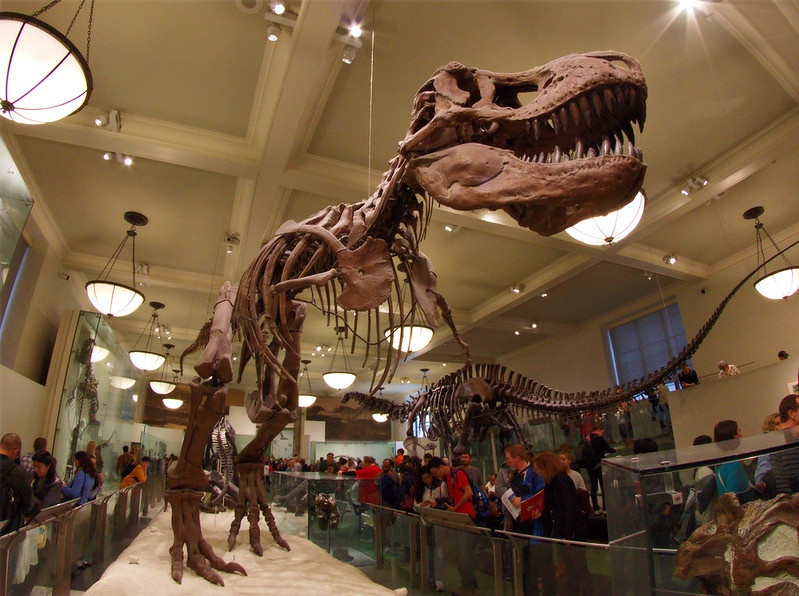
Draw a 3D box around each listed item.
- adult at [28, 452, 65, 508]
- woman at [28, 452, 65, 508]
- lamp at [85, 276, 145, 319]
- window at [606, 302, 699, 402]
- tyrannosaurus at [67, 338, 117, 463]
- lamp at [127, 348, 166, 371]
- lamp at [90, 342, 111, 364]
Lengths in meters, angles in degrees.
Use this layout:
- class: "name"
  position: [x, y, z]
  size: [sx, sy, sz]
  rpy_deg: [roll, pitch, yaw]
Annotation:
- class: "adult"
  position: [-3.603, 1.839, 5.271]
  size: [0.345, 0.528, 0.924]
  rpy_deg: [17, -25, -30]
- class: "woman"
  position: [-3.607, 1.842, 5.283]
  size: [0.348, 0.525, 0.897]
  rpy_deg: [17, -25, -31]
- class: "lamp"
  position: [-4.616, 0.009, 8.347]
  size: [0.583, 0.496, 0.822]
  rpy_deg: [-9, -25, 30]
- class: "window"
  position: [5.345, 1.080, 10.813]
  size: [0.119, 1.334, 1.797]
  rpy_deg: [10, -23, -20]
- class: "tyrannosaurus"
  position: [-6.001, 2.023, 9.664]
  size: [0.706, 2.502, 0.940]
  rpy_deg: [6, 7, -3]
- class: "lamp"
  position: [-5.609, 1.357, 11.537]
  size: [0.847, 0.447, 0.864]
  rpy_deg: [0, -22, -5]
- class: "lamp"
  position: [-5.915, 1.108, 10.230]
  size: [0.375, 0.284, 0.368]
  rpy_deg: [1, -19, -17]
